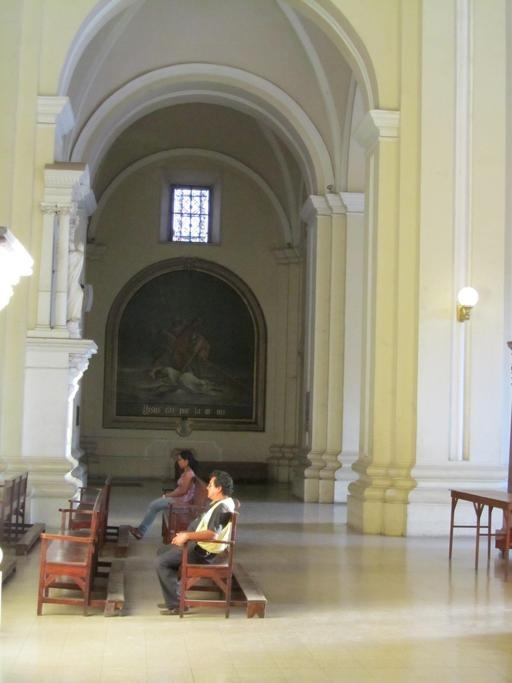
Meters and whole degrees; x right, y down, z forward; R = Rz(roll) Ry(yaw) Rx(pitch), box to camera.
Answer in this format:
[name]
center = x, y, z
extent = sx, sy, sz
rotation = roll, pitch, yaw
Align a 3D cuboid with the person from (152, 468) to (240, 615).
[person]
center = -0.372, 1.231, 4.143
extent = 0.447, 0.839, 0.414
rotation = 8, -7, -3
